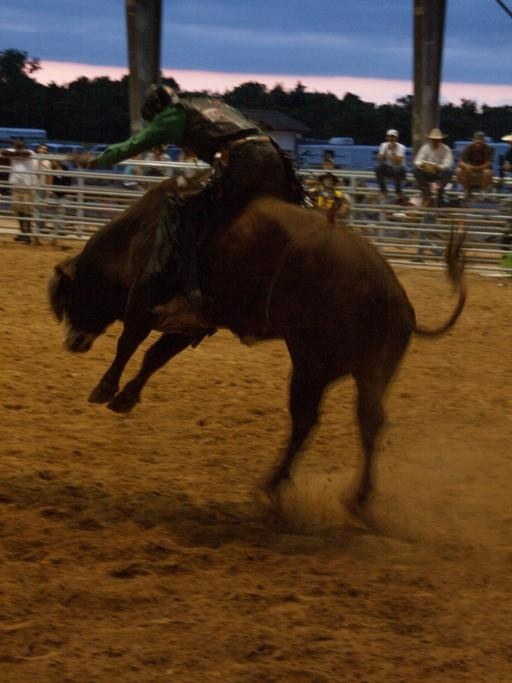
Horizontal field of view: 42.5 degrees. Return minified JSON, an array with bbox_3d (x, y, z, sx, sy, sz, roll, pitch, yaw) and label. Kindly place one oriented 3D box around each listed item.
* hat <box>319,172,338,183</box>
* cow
[{"bbox_3d":[0.970,-2.209,8.958,0.309,0.061,0.251,6,21,-8],"label":"hat"},{"bbox_3d":[-0.162,0.011,3.544,1.827,1.684,0.605,12,10,21],"label":"cow"}]
